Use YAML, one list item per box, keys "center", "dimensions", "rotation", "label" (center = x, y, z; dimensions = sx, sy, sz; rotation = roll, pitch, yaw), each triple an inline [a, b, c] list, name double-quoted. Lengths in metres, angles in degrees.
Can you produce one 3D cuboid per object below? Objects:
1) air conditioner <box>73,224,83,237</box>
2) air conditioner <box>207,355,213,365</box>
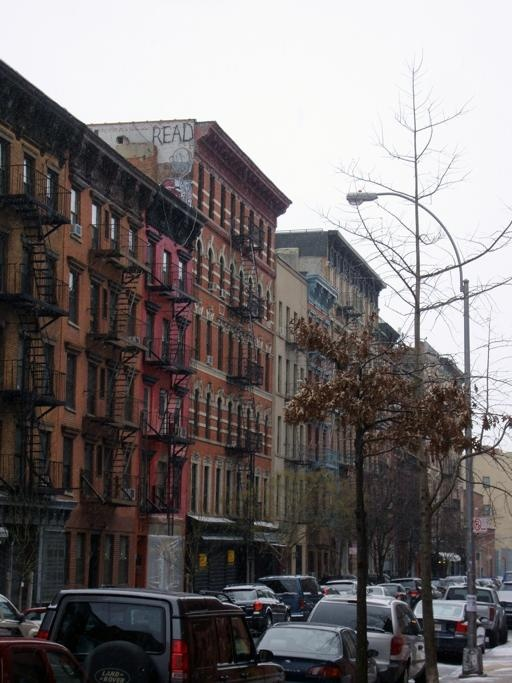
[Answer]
- center: [-5.296, -3.229, 41.484]
  dimensions: [0.216, 0.476, 0.443]
  rotation: [-2, -6, 12]
  label: "air conditioner"
- center: [-1.872, 0.746, 56.449]
  dimensions: [0.227, 0.444, 0.279]
  rotation: [-1, -1, 6]
  label: "air conditioner"
